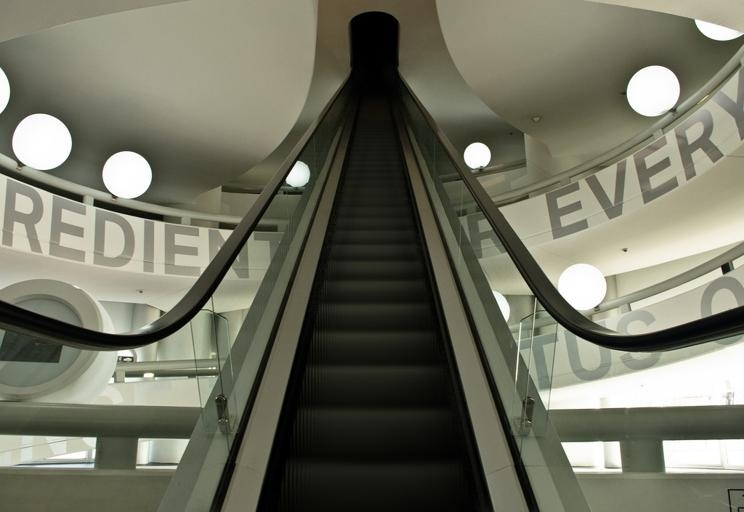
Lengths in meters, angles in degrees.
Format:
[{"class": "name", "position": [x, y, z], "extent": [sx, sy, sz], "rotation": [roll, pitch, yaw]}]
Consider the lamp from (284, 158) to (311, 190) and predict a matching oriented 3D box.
[{"class": "lamp", "position": [-0.701, -0.748, 4.844], "extent": [0.241, 0.294, 0.244], "rotation": [-1, -4, 25]}]

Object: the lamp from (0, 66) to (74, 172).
[{"class": "lamp", "position": [-5.142, -1.889, 8.205], "extent": [0.725, 0.999, 0.468], "rotation": [0, -22, -3]}]

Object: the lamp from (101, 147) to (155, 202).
[{"class": "lamp", "position": [-4.418, -1.457, 9.630], "extent": [0.834, 0.968, 0.824], "rotation": [-19, 13, -39]}]

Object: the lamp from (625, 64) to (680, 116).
[{"class": "lamp", "position": [4.280, -2.608, 8.132], "extent": [0.693, 0.772, 0.434], "rotation": [-9, -24, 20]}]

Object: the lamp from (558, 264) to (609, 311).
[{"class": "lamp", "position": [3.115, 0.449, 7.828], "extent": [0.556, 0.662, 0.564], "rotation": [-8, -40, 10]}]
